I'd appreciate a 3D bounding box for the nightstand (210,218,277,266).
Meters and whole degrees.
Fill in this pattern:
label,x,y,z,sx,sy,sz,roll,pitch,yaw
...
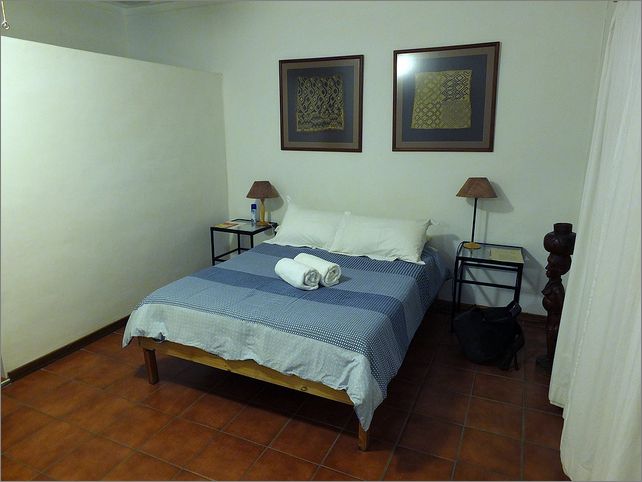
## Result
label,x,y,z,sx,sy,sz,roll,pitch,yaw
nightstand,-0.908,-0.022,6.012,0.572,0.826,0.744,7,20,19

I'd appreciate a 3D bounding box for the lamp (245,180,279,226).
label,x,y,z,sx,sy,sz,roll,pitch,yaw
lamp,-0.702,-0.446,5.705,0.520,0.527,0.537,2,8,13

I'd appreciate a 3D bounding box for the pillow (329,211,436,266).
label,x,y,z,sx,sy,sz,roll,pitch,yaw
pillow,0.598,-0.020,4.994,1.075,0.363,0.623,7,30,30

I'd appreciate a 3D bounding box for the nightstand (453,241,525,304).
label,x,y,z,sx,sy,sz,roll,pitch,yaw
nightstand,1.697,0.422,4.871,0.670,0.693,0.555,3,21,12

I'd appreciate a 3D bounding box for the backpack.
label,x,y,z,sx,sy,sz,roll,pitch,yaw
backpack,1.531,0.823,4.480,0.631,0.608,0.472,9,16,20

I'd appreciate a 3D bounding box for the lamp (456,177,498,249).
label,x,y,z,sx,sy,sz,roll,pitch,yaw
lamp,1.533,-0.286,4.784,0.384,0.699,0.427,9,21,19

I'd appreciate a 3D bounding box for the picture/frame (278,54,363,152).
label,x,y,z,sx,sy,sz,roll,pitch,yaw
picture/frame,0.027,-1.556,5.289,0.998,1.072,0.043,5,16,22

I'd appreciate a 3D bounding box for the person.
label,x,y,z,sx,sy,sz,roll,pitch,yaw
person,1.977,0.602,4.122,0.190,0.972,0.396,11,22,24

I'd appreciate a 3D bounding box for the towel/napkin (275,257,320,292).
label,x,y,z,sx,sy,sz,roll,pitch,yaw
towel/napkin,-0.168,0.337,4.243,0.213,0.171,0.442,-2,0,-23

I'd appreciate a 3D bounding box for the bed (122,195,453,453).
label,x,y,z,sx,sy,sz,roll,pitch,yaw
bed,-0.196,0.508,4.447,2.212,1.066,2.210,10,21,21
